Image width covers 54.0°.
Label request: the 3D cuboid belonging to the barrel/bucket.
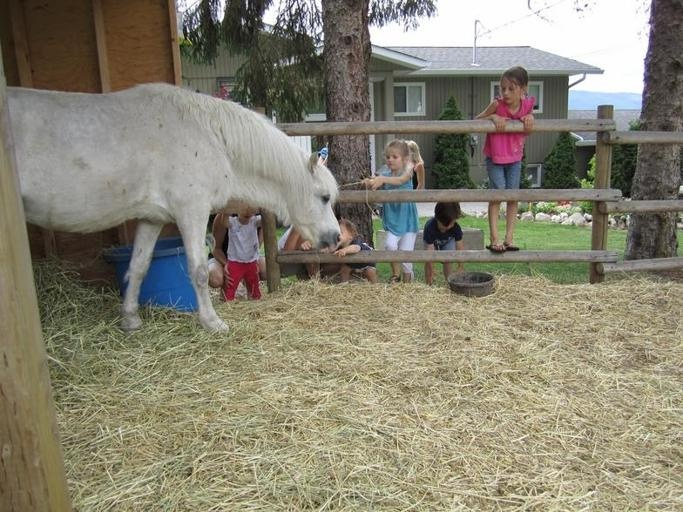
[{"bbox_3d":[-1.448,0.162,5.179,0.605,0.453,0.591,-1,0,0],"label":"barrel/bucket"}]

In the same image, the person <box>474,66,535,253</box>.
[{"bbox_3d":[1.470,-0.851,6.055,0.476,1.626,0.512,2,13,13],"label":"person"}]

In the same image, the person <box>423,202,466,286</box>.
[{"bbox_3d":[0.953,-0.115,6.277,0.374,0.873,0.626,1,13,8],"label":"person"}]

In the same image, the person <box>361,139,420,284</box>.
[{"bbox_3d":[0.481,-0.400,6.376,0.491,1.368,0.929,0,13,6],"label":"person"}]

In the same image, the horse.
[{"bbox_3d":[-1.147,-0.332,4.809,2.066,1.733,0.535,-7,14,-26],"label":"horse"}]

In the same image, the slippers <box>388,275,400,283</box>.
[{"bbox_3d":[0.504,0.216,6.309,0.097,0.069,0.147,1,14,8],"label":"slippers"}]

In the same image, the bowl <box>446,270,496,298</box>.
[{"bbox_3d":[1.134,0.242,5.818,0.407,0.133,0.377,-1,14,0],"label":"bowl"}]
